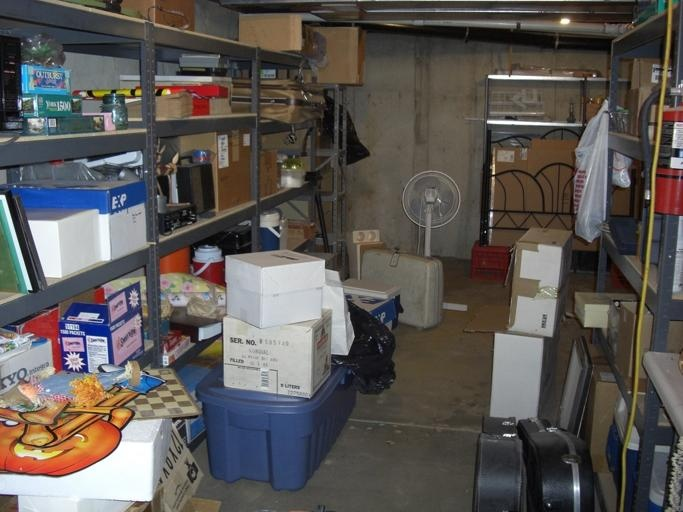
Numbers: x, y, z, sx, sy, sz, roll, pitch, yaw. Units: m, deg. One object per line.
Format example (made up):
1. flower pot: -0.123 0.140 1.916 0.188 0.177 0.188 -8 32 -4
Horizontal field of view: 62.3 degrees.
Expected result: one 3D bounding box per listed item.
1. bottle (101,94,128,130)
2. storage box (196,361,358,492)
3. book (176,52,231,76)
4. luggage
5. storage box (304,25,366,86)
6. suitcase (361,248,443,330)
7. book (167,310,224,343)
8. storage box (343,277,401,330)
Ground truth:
1. bottle: -1.065 -0.684 2.700 0.088 0.162 0.174 10 17 31
2. storage box: -0.362 1.001 3.632 0.747 0.523 1.169 1 3 13
3. book: -0.880 -1.244 3.739 0.226 0.104 0.211 5 10 24
4. luggage: -0.550 -1.319 4.879 1.025 0.302 1.032 -1 15 -28
5. storage box: -0.026 -2.083 5.748 0.594 0.618 0.421 -1 3 -3
6. suitcase: 0.565 0.338 5.250 0.633 0.621 0.227 9 12 31
7. book: -0.860 0.401 3.463 0.209 0.051 0.212 10 15 30
8. storage box: 0.264 0.368 5.091 0.425 0.289 0.430 15 19 27
